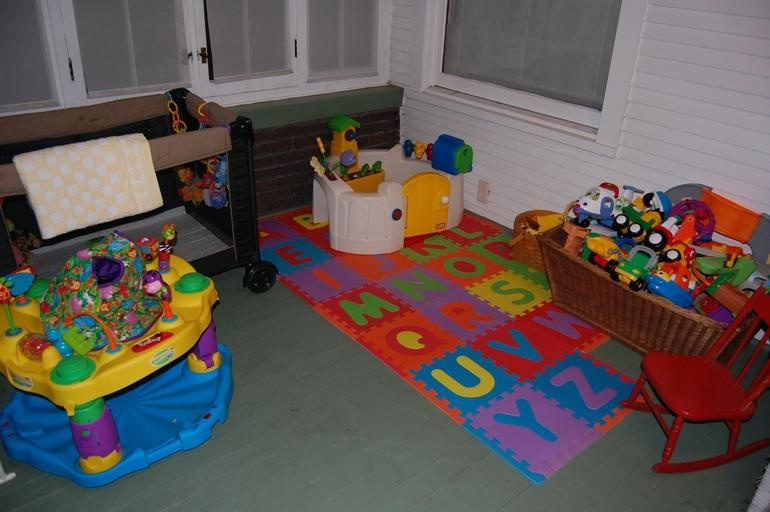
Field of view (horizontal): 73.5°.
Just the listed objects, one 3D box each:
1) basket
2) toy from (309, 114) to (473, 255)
[{"bbox_3d":[1.766,0.181,3.933,0.873,0.553,1.237,-20,37,-34],"label":"basket"},{"bbox_3d":[0.003,-0.670,4.972,1.532,1.079,1.198,-14,41,-23],"label":"toy"}]
